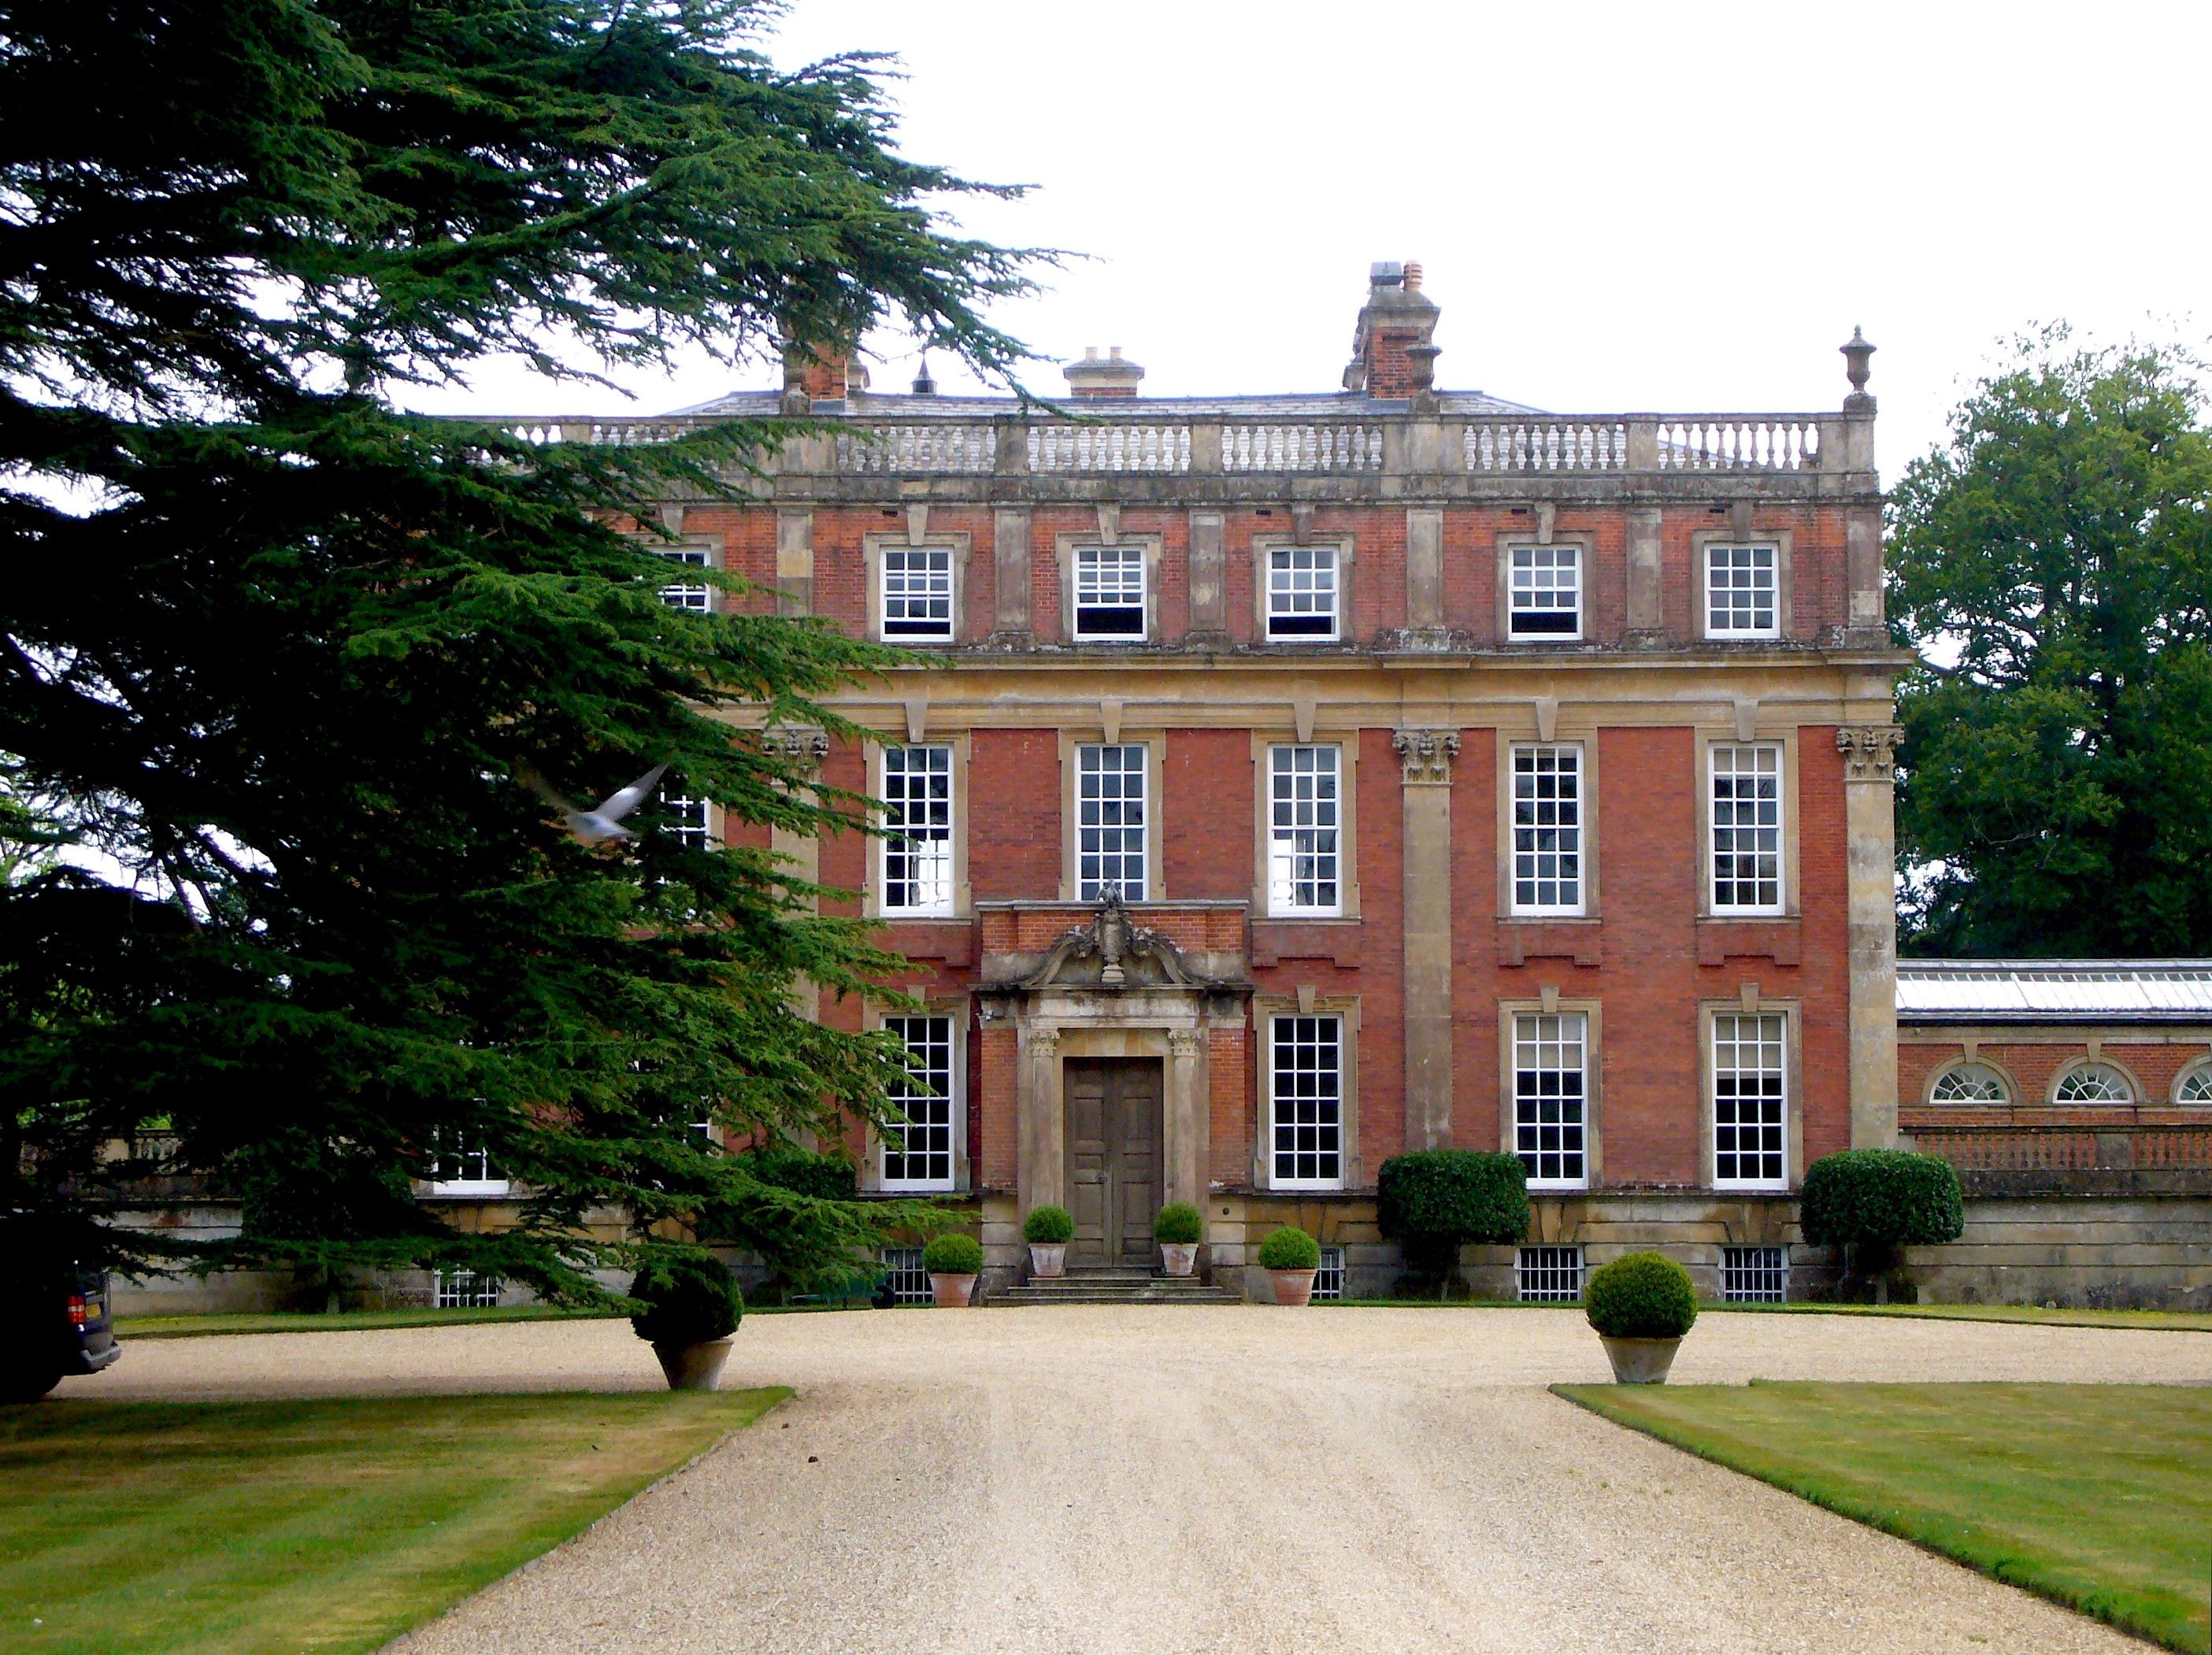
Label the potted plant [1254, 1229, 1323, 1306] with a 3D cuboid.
[{"bbox_3d":[2.072,5.250,38.660,0.943,0.859,0.822,2,-14,-6],"label":"potted plant"}]

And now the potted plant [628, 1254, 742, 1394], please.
[{"bbox_3d":[-3.716,4.036,26.437,1.285,1.254,1.240,1,-11,-5],"label":"potted plant"}]

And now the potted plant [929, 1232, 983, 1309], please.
[{"bbox_3d":[-1.696,5.185,38.109,0.807,0.794,0.797,-3,-4,27],"label":"potted plant"}]

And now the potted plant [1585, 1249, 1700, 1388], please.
[{"bbox_3d":[4.489,4.167,27.376,1.053,1.032,1.028,6,-16,-6],"label":"potted plant"}]

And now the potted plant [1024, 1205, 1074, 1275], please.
[{"bbox_3d":[-0.734,4.947,38.808,0.572,0.823,0.492,0,-2,-11],"label":"potted plant"}]

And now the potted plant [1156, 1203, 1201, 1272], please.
[{"bbox_3d":[0.824,4.934,38.827,0.494,0.855,0.555,-1,-2,1],"label":"potted plant"}]
